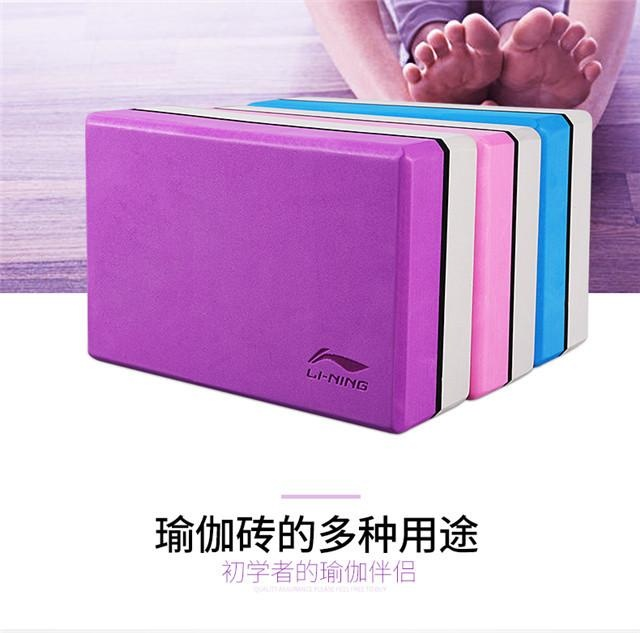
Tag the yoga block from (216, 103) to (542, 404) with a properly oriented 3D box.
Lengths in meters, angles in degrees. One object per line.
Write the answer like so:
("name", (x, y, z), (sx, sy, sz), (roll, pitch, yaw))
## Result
("yoga block", (-0.043, -0.047, 0.892), (0.448, 0.287, 0.154), (6, 1, 36))
